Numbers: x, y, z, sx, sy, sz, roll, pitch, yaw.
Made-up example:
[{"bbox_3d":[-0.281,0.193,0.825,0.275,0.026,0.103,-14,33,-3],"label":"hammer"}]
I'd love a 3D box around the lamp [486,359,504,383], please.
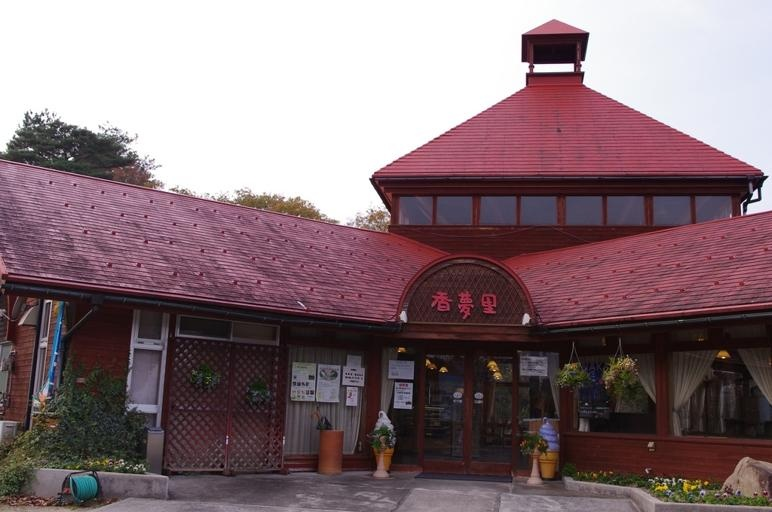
[{"bbox_3d":[2.856,2.946,21.174,0.480,0.536,0.156,7,10,28],"label":"lamp"}]

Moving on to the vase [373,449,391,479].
[{"bbox_3d":[-0.069,5.137,20.419,0.446,0.688,1.220,3,8,2],"label":"vase"}]

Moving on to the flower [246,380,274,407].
[{"bbox_3d":[-3.080,3.321,19.975,0.679,0.364,0.657,-4,-10,3],"label":"flower"}]

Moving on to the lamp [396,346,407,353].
[{"bbox_3d":[0.441,2.453,21.456,0.238,0.143,0.067,2,9,-2],"label":"lamp"}]

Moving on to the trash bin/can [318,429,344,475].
[{"bbox_3d":[-1.359,4.869,20.438,0.582,1.017,0.543,2,9,-6],"label":"trash bin/can"}]

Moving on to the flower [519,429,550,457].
[{"bbox_3d":[3.686,4.588,20.305,0.675,0.383,0.612,1,-14,5],"label":"flower"}]

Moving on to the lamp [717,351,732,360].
[{"bbox_3d":[7.625,2.223,18.489,0.313,0.272,0.191,0,-12,7],"label":"lamp"}]

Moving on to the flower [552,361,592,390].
[{"bbox_3d":[4.583,2.889,19.846,0.783,0.667,0.741,-5,-11,30],"label":"flower"}]

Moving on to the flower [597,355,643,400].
[{"bbox_3d":[5.519,2.840,19.163,1.113,0.683,1.071,0,-2,39],"label":"flower"}]

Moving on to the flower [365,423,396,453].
[{"bbox_3d":[-0.043,4.598,20.538,0.722,0.399,0.655,3,-12,-10],"label":"flower"}]

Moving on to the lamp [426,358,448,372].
[{"bbox_3d":[1.345,2.830,21.311,0.590,0.379,0.125,4,9,15],"label":"lamp"}]

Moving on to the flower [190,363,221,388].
[{"bbox_3d":[-4.257,2.831,19.391,0.630,0.321,0.560,5,31,-28],"label":"flower"}]
